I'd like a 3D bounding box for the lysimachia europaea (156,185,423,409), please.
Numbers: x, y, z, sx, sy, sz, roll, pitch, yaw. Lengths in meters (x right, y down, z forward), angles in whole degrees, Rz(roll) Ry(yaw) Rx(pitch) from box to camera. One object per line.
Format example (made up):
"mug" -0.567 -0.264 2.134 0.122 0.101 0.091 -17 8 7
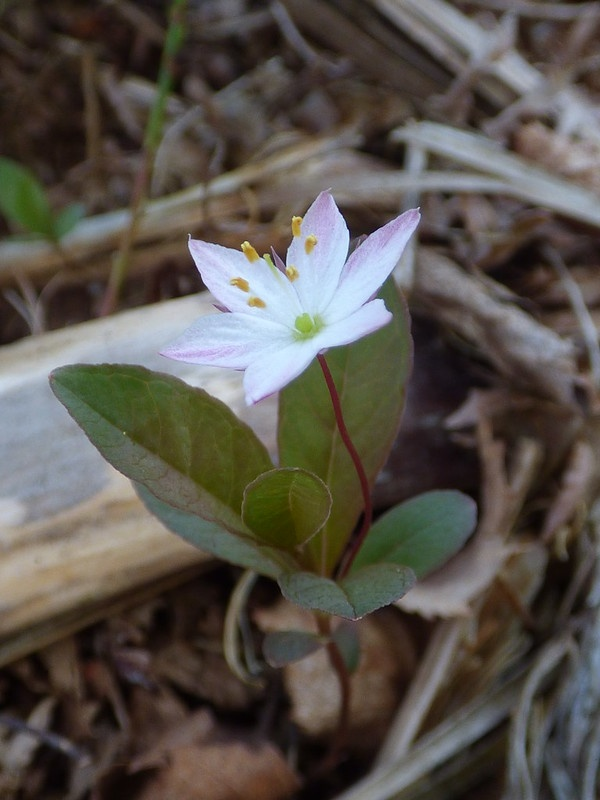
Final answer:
"lysimachia europaea" -0.018 -0.173 1.224 0.386 0.237 0.404 -4 39 -11
